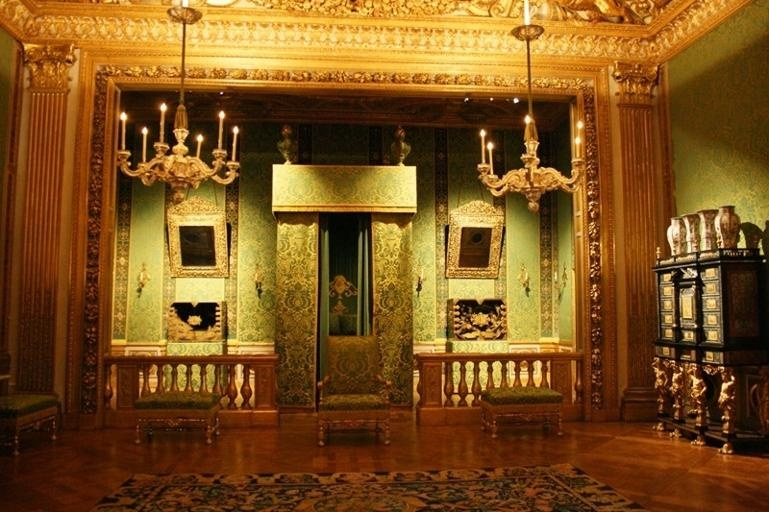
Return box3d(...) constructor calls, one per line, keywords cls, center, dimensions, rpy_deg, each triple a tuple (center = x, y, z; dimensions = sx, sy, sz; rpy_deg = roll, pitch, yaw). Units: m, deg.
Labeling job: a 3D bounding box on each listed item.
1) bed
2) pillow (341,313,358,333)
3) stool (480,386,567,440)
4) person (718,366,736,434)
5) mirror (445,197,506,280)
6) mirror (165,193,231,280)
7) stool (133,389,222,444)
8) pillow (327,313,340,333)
box3d(cls="bed", center=(-0.608, 0.461, 11.017), dimensions=(2.137, 3.716, 0.746), rpy_deg=(-1, 6, -9))
box3d(cls="pillow", center=(-0.557, 1.065, 11.576), dimensions=(0.357, 0.443, 0.148), rpy_deg=(2, 0, -2))
box3d(cls="stool", center=(1.828, 2.040, 9.644), dimensions=(0.994, 0.624, 0.727), rpy_deg=(-1, 6, -7))
box3d(cls="person", center=(4.211, 1.748, 8.760), dimensions=(0.175, 0.771, 0.322), rpy_deg=(3, 7, 27))
box3d(cls="mirror", center=(1.535, -0.263, 12.310), dimensions=(1.465, 1.938, 0.207), rpy_deg=(0, 2, -7))
box3d(cls="mirror", center=(-3.148, -0.276, 11.922), dimensions=(1.464, 1.879, 0.149), rpy_deg=(-1, 2, -3))
box3d(cls="stool", center=(-2.646, 2.001, 9.202), dimensions=(0.772, 0.386, 0.752), rpy_deg=(1, -6, -5))
box3d(cls="pillow", center=(-0.810, 1.098, 11.605), dimensions=(0.265, 0.243, 0.095), rpy_deg=(3, 1, -9))
